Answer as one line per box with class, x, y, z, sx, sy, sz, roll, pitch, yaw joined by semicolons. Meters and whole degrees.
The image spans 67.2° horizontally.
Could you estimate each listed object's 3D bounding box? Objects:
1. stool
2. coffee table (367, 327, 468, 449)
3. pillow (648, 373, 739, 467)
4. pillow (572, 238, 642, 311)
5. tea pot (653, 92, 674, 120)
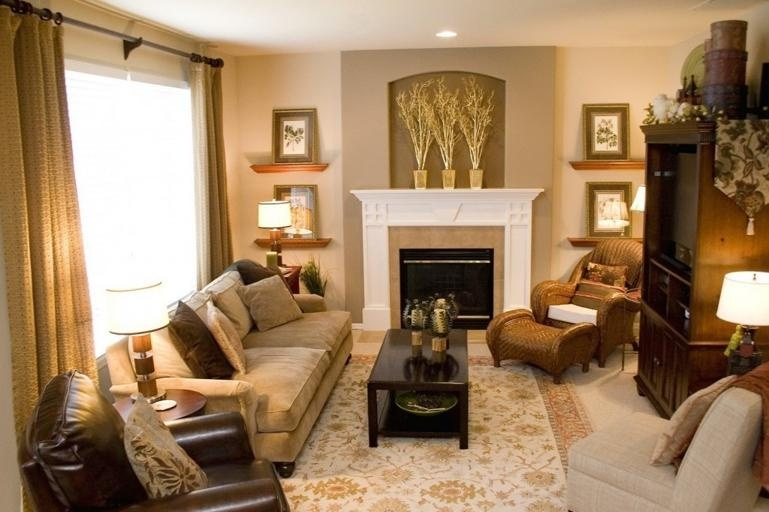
stool;1.770;0.858;6.183;0.841;0.489;0.822;-3;4;-42
coffee table;0.304;1.147;5.114;0.749;0.462;1.268;1;12;5
pillow;2.025;1.070;3.773;0.528;0.445;0.267;-10;20;-32
pillow;2.778;0.187;6.933;0.749;0.739;0.227;12;-5;38
tea pot;2.428;-1.321;5.091;0.077;0.215;0.204;1;5;-3
